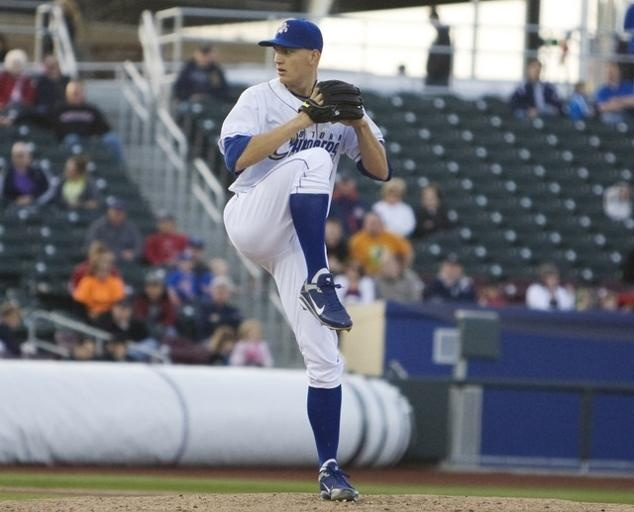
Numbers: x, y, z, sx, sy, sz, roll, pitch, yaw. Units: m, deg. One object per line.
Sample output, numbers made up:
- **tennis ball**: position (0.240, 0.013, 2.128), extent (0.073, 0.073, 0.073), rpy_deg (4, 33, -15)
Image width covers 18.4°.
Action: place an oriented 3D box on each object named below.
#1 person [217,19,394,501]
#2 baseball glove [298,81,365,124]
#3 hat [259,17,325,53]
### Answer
- **person**: position (-0.129, 0.023, 13.135), extent (1.084, 3.207, 0.696), rpy_deg (1, 4, 8)
- **baseball glove**: position (0.117, -1.073, 13.095), extent (0.546, 0.229, 0.406), rpy_deg (14, -7, 0)
- **hat**: position (-0.184, -1.491, 13.120), extent (0.439, 0.212, 0.283), rpy_deg (1, 7, -34)
